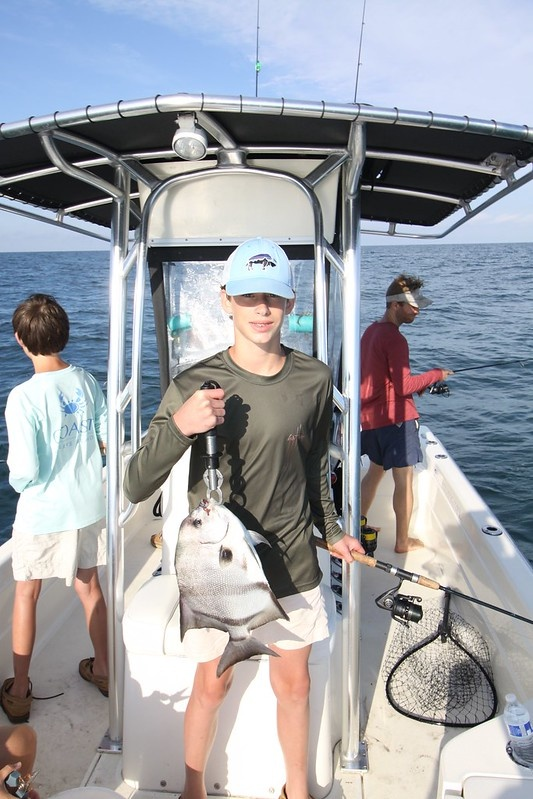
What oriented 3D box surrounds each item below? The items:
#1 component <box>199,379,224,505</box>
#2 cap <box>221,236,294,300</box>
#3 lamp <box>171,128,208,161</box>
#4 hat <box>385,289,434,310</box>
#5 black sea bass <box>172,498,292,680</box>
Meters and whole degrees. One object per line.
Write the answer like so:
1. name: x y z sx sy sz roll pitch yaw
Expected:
1. component: -0.132 0.121 1.710 0.066 0.284 0.052 -3 6 2
2. cap: -0.029 -0.347 1.823 0.195 0.166 0.162 -6 13 -2
3. lamp: -0.241 -0.777 2.057 0.097 0.080 0.139 -11 14 -19
4. hat: 0.871 -0.603 4.065 0.183 0.066 0.127 6 22 14
5. black sea bass: -0.090 0.484 1.908 0.395 0.676 0.181 -3 14 8
